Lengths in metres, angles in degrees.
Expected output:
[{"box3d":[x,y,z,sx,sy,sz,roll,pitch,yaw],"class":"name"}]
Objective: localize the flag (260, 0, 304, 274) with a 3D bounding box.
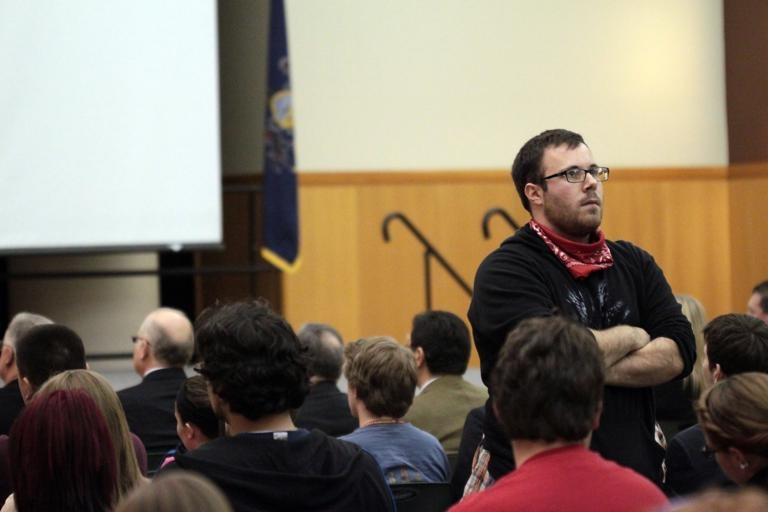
[{"box3d":[-0.916,-1.013,9.033,0.335,1.950,0.192,-5,-1,-6],"class":"flag"}]
